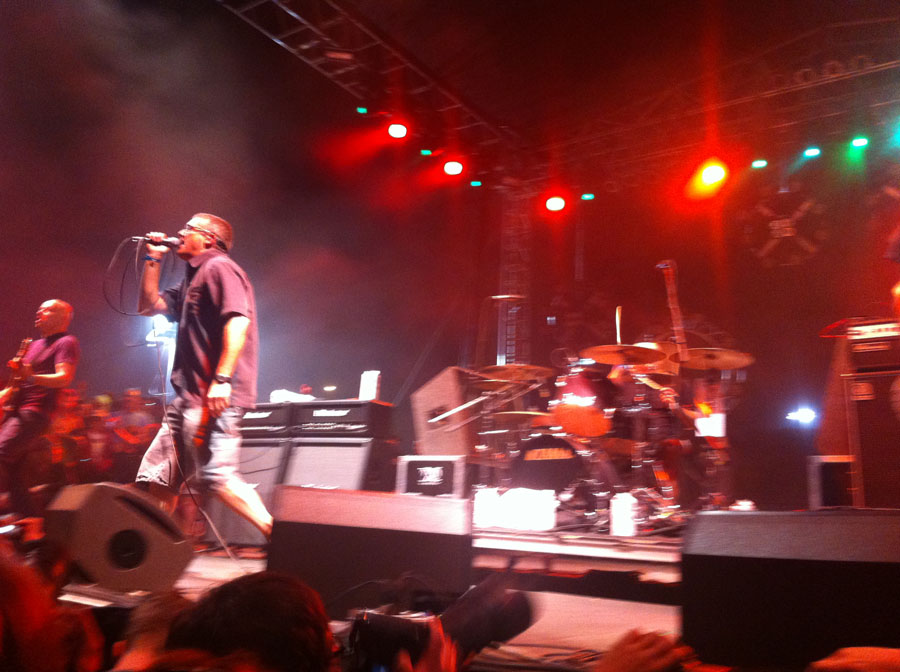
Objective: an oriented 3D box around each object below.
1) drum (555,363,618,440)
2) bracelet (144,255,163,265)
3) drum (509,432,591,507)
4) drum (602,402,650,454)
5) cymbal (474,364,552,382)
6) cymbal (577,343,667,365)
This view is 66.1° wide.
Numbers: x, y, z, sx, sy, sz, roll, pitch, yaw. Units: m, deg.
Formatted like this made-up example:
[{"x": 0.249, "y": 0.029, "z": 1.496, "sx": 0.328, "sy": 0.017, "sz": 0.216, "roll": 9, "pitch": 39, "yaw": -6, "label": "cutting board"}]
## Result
[{"x": 0.975, "y": 0.452, "z": 4.981, "sx": 0.425, "sy": 0.607, "sz": 1.020, "roll": 3, "pitch": -11, "yaw": 13, "label": "drum"}, {"x": -1.585, "y": -0.400, "z": 3.695, "sx": 0.055, "sy": 0.016, "sz": 0.056, "roll": -7, "pitch": -11, "yaw": 40, "label": "bracelet"}, {"x": 0.786, "y": 0.954, "z": 5.131, "sx": 0.542, "sy": 0.471, "sz": 0.806, "roll": 7, "pitch": -11, "yaw": -13, "label": "drum"}, {"x": 1.233, "y": 0.657, "z": 4.882, "sx": 0.400, "sy": 0.393, "sz": 0.378, "roll": 0, "pitch": -1, "yaw": -7, "label": "drum"}, {"x": 0.461, "y": 0.263, "z": 4.781, "sx": 0.398, "sy": 0.121, "sz": 0.609, "roll": 1, "pitch": -11, "yaw": 20, "label": "cymbal"}, {"x": 1.224, "y": 0.130, "z": 4.773, "sx": 0.565, "sy": 0.106, "sz": 0.508, "roll": 11, "pitch": -12, "yaw": -32, "label": "cymbal"}]
